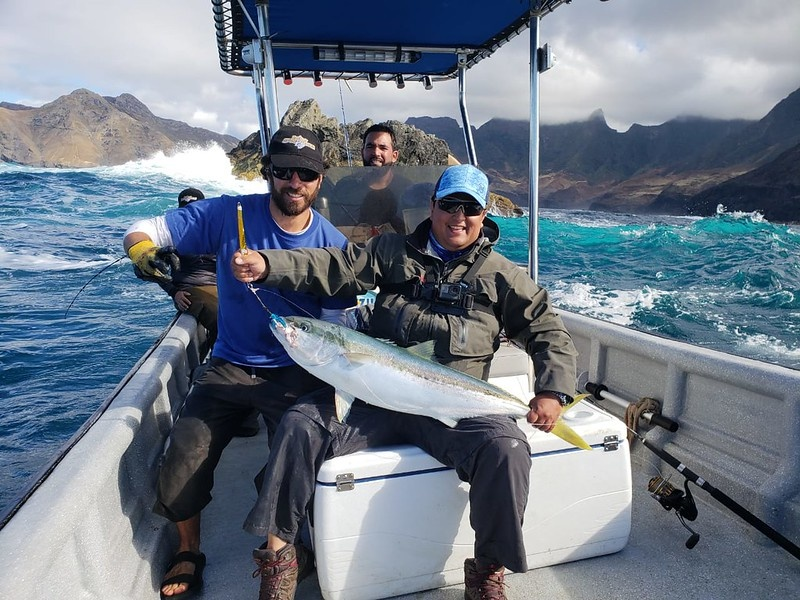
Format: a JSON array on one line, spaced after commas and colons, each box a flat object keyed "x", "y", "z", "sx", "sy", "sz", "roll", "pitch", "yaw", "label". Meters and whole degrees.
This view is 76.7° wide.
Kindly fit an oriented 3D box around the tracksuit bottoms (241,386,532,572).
[{"x": -0.052, "y": 0.920, "z": 2.636, "sx": 1.386, "sy": 0.672, "sz": 0.522, "roll": 1, "pitch": 15, "yaw": 2, "label": "tracksuit bottoms"}]

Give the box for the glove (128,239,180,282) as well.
[{"x": -1.316, "y": -0.209, "z": 2.691, "sx": 0.245, "sy": 0.115, "sz": 0.199, "roll": 1, "pitch": -38, "yaw": 44, "label": "glove"}]

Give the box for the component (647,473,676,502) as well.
[{"x": 1.588, "y": 1.135, "z": 3.106, "sx": 0.133, "sy": 0.134, "sz": 0.130, "roll": 2, "pitch": 41, "yaw": -54, "label": "component"}]

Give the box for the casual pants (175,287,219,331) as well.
[{"x": -1.913, "y": 0.083, "z": 4.746, "sx": 0.374, "sy": 0.227, "sz": 0.139, "roll": 6, "pitch": -11, "yaw": -5, "label": "casual pants"}]

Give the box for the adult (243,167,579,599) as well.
[{"x": 0.106, "y": 0.497, "z": 2.667, "sx": 1.745, "sy": 0.562, "sz": 0.464, "roll": 17, "pitch": -29, "yaw": 2, "label": "adult"}]

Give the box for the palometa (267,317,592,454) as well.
[{"x": 0.110, "y": 0.474, "z": 2.746, "sx": 1.223, "sy": 0.455, "sz": 0.329, "roll": 19, "pitch": -20, "yaw": -5, "label": "palometa"}]

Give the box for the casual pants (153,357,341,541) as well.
[{"x": -1.038, "y": 0.844, "z": 2.852, "sx": 0.885, "sy": 0.904, "sz": 0.271, "roll": 3, "pitch": -23, "yaw": -7, "label": "casual pants"}]

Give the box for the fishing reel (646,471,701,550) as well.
[{"x": 1.645, "y": 1.244, "z": 3.034, "sx": 0.156, "sy": 0.220, "sz": 0.387, "roll": -6, "pitch": 38, "yaw": -30, "label": "fishing reel"}]

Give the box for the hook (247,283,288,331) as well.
[{"x": -0.796, "y": 0.040, "z": 2.953, "sx": 0.058, "sy": 0.050, "sz": 0.429, "roll": -1, "pitch": 33, "yaw": -28, "label": "hook"}]

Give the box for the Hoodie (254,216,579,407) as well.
[{"x": 0.313, "y": -0.090, "z": 3.295, "sx": 1.650, "sy": 0.937, "sz": 0.940, "roll": 22, "pitch": 2, "yaw": 6, "label": "Hoodie"}]
